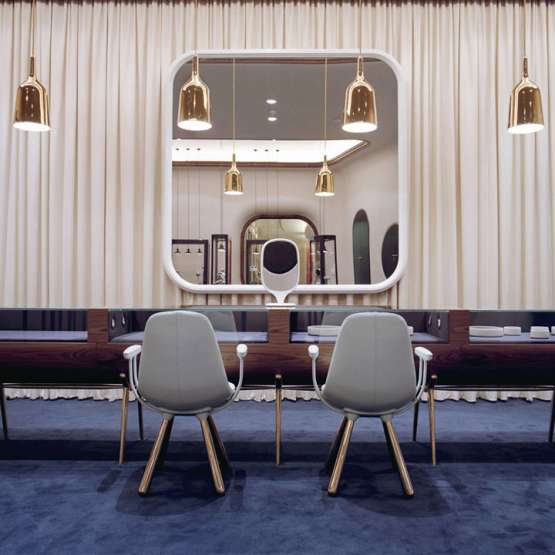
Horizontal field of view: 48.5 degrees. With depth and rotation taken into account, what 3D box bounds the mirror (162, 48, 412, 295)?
[{"bbox_3d":[0.076,-0.795,4.505,1.437,1.693,0.072,0,-3,-2],"label":"mirror"}]
